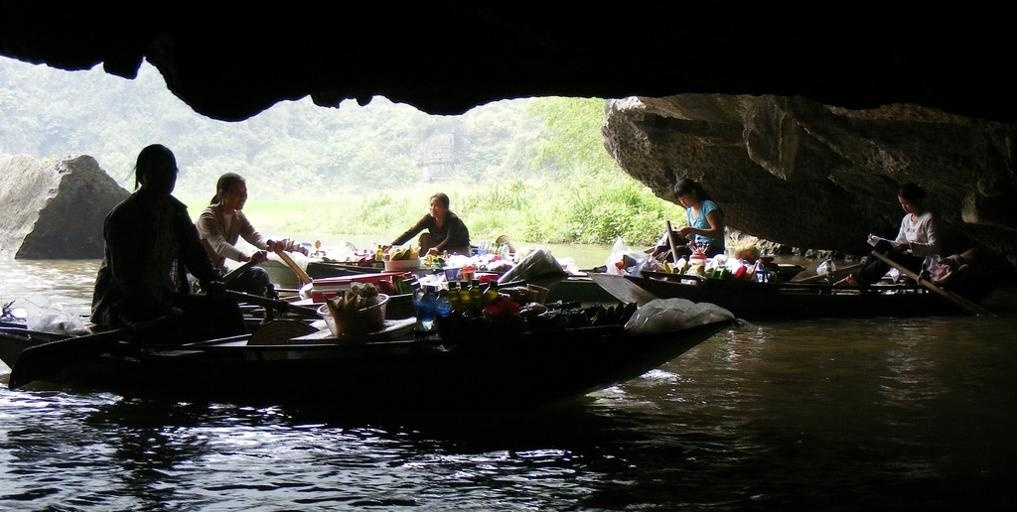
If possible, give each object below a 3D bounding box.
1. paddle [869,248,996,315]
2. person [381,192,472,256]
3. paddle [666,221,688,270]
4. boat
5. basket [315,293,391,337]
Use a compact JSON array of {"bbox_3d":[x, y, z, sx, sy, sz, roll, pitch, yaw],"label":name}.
[{"bbox_3d":[6.447,0.397,11.702,2.271,0.175,0.298,22,-25,27],"label":"paddle"},{"bbox_3d":[-1.294,-0.549,13.265,1.204,1.087,1.098,-2,2,9],"label":"person"},{"bbox_3d":[2.663,-0.193,12.431,0.177,0.964,0.165,-21,-14,-5],"label":"paddle"},{"bbox_3d":[-1.238,1.160,8.105,11.187,1.062,2.216,-2,2,13],"label":"boat"},{"bbox_3d":[-1.616,0.605,8.050,0.601,0.185,0.493,-14,9,-20],"label":"basket"}]
